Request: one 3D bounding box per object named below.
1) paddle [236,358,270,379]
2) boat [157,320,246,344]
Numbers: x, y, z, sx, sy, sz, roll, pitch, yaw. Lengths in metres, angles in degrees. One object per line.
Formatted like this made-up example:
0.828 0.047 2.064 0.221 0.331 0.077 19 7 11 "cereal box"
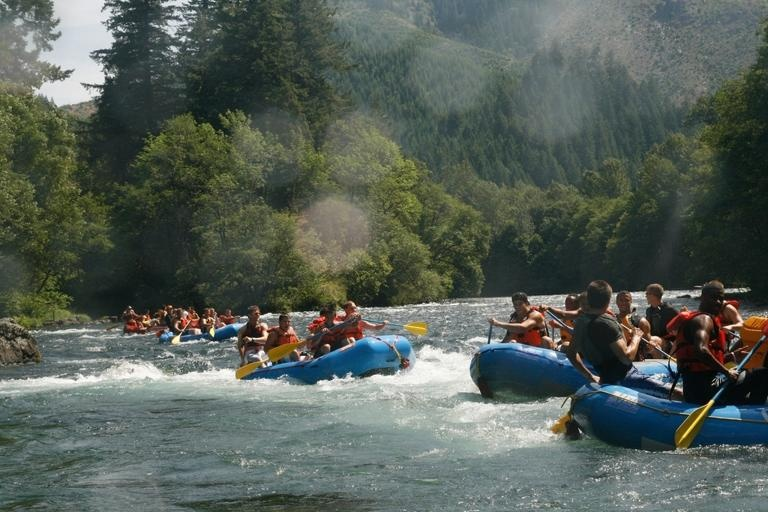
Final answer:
-5.153 4.398 36.357 1.841 0.317 0.150 -21 25 -10 "paddle"
-9.058 3.873 45.564 4.621 0.926 2.301 -6 -5 23 "boat"
